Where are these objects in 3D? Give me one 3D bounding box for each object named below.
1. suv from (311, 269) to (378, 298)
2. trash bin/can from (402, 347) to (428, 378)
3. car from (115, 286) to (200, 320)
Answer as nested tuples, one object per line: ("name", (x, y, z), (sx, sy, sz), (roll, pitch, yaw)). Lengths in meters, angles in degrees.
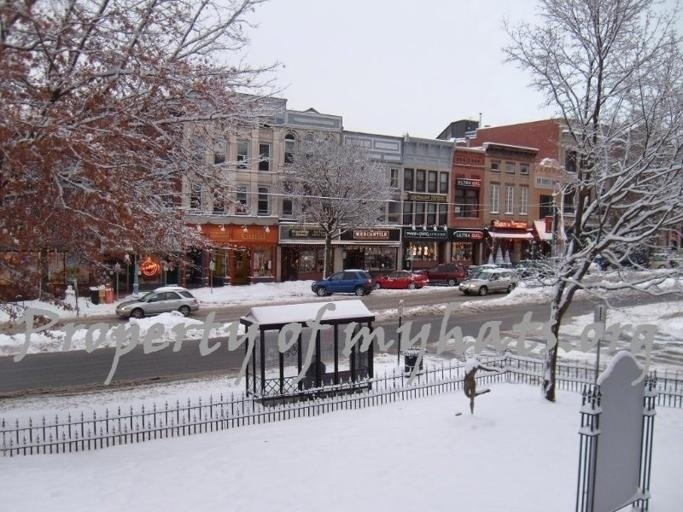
("suv", (0.101, 1.514, 43.788), (2.591, 1.317, 1.598), (2, -1, 1))
("trash bin/can", (2.250, 3.307, 24.358), (0.788, 0.960, 0.815), (1, -3, -4))
("car", (-8.246, 2.177, 34.964), (3.401, 1.342, 1.455), (3, -2, -29))
